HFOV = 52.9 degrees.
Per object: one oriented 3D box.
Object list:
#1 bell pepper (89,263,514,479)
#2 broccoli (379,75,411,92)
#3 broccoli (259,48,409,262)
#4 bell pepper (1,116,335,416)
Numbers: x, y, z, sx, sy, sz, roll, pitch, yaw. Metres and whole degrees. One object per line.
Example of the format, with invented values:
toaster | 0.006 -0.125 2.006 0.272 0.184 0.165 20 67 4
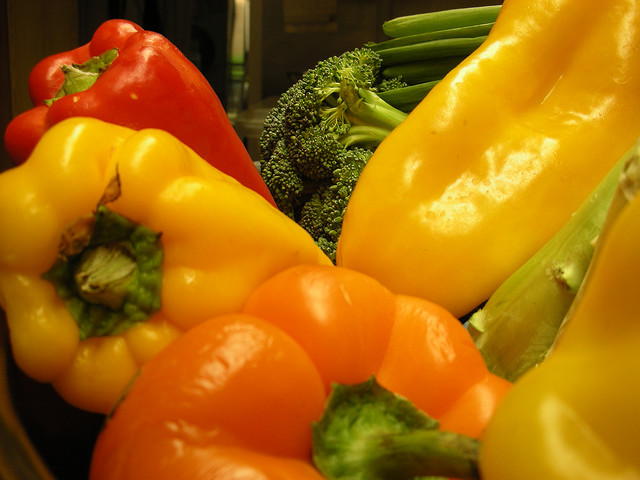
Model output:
bell pepper | -0.010 0.087 0.748 0.358 0.298 0.257 -6 10 -40
broccoli | 0.155 -0.320 1.322 0.050 0.019 0.037 -4 54 -22
broccoli | 0.027 -0.140 1.249 0.241 0.423 0.224 -2 12 17
bell pepper | -0.221 -0.006 0.982 0.402 0.389 0.357 27 2 -9
